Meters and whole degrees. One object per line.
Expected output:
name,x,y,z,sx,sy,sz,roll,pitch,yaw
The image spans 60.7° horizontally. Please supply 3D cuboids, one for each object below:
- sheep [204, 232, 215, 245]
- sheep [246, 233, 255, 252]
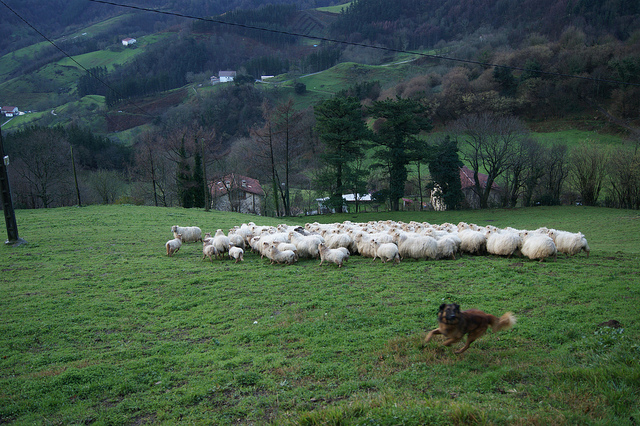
sheep,-14.700,3.407,72.448,0.714,1.465,1.053,-3,-14,-11
sheep,-9.319,3.989,73.061,0.816,2.355,1.212,-3,2,-23
